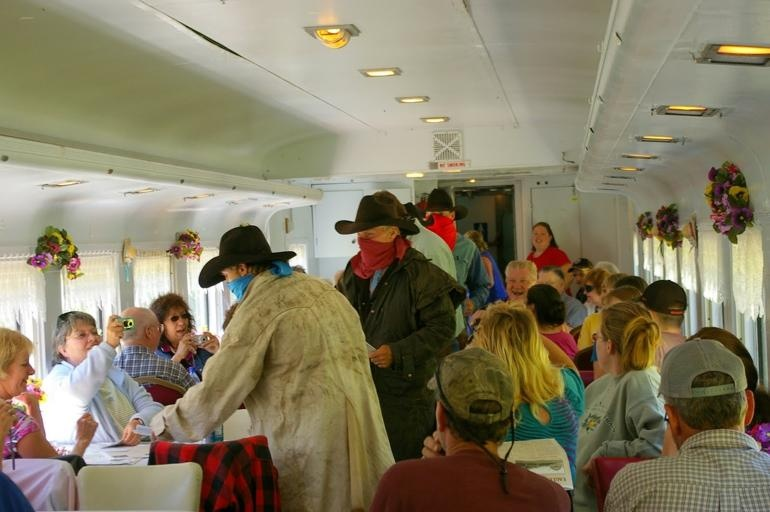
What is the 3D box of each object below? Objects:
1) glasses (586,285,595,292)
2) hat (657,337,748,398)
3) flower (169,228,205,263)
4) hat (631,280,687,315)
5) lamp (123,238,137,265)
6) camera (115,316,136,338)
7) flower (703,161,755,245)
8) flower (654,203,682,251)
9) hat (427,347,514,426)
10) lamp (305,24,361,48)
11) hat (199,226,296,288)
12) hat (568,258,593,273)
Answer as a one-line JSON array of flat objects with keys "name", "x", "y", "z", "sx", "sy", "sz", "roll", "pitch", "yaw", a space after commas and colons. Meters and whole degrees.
[{"name": "glasses", "x": 2.788, "y": 0.435, "z": 7.991, "sx": 0.118, "sy": 0.037, "sz": 0.111, "roll": 10, "pitch": -7, "yaw": 16}, {"name": "hat", "x": 1.494, "y": 0.528, "z": 2.783, "sx": 0.275, "sy": 0.141, "sz": 0.363, "roll": -2, "pitch": 24, "yaw": 12}, {"name": "flower", "x": -2.967, "y": -0.157, "z": 8.880, "sx": 0.203, "sy": 0.412, "sz": 0.415, "roll": 7, "pitch": -21, "yaw": 36}, {"name": "hat", "x": 2.568, "y": 0.345, "z": 5.444, "sx": 0.370, "sy": 0.267, "sz": 0.498, "roll": -9, "pitch": 9, "yaw": -13}, {"name": "lamp", "x": -3.395, "y": -0.072, "z": 7.790, "sx": 0.108, "sy": 0.334, "sz": 0.346, "roll": 0, "pitch": -3, "yaw": 9}, {"name": "camera", "x": -2.548, "y": 0.688, "z": 5.819, "sx": 0.325, "sy": 0.219, "sz": 0.099, "roll": -7, "pitch": -5, "yaw": 35}, {"name": "flower", "x": 2.770, "y": -0.359, "z": 4.688, "sx": 0.202, "sy": 0.522, "sz": 0.551, "roll": -20, "pitch": -39, "yaw": 4}, {"name": "flower", "x": 3.461, "y": -0.373, "z": 7.129, "sx": 0.213, "sy": 0.433, "sz": 0.452, "roll": 1, "pitch": -8, "yaw": -5}, {"name": "hat", "x": 0.460, "y": 0.591, "z": 2.979, "sx": 0.414, "sy": 0.285, "sz": 0.541, "roll": 1, "pitch": 13, "yaw": -7}, {"name": "lamp", "x": -0.457, "y": -1.970, "z": 5.269, "sx": 0.480, "sy": 0.093, "sz": 0.420, "roll": -3, "pitch": -4, "yaw": 7}, {"name": "hat", "x": -1.076, "y": -0.013, "z": 4.180, "sx": 0.587, "sy": 0.294, "sz": 0.737, "roll": -6, "pitch": -17, "yaw": -43}, {"name": "hat", "x": 3.418, "y": 0.136, "z": 10.201, "sx": 0.369, "sy": 0.175, "sz": 0.247, "roll": 8, "pitch": -12, "yaw": -33}]
